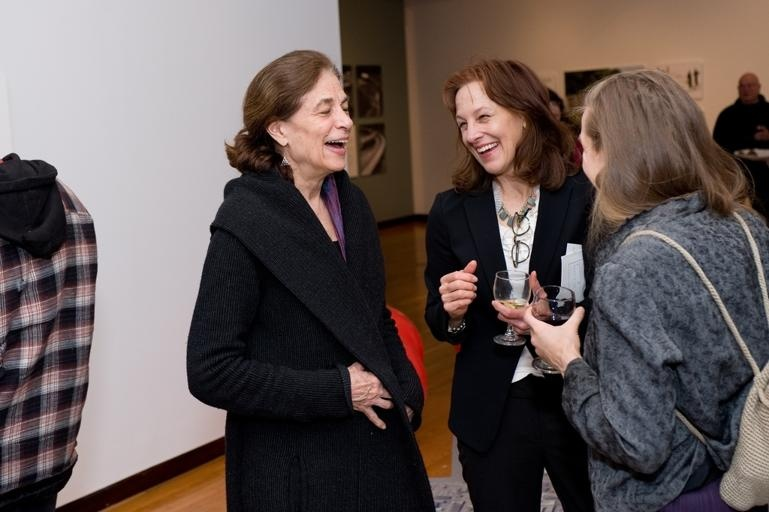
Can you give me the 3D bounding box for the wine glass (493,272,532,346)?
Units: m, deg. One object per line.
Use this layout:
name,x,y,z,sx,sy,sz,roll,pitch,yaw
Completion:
wine glass,0.475,0.195,2.154,0.129,0.312,0.215,-4,9,5
